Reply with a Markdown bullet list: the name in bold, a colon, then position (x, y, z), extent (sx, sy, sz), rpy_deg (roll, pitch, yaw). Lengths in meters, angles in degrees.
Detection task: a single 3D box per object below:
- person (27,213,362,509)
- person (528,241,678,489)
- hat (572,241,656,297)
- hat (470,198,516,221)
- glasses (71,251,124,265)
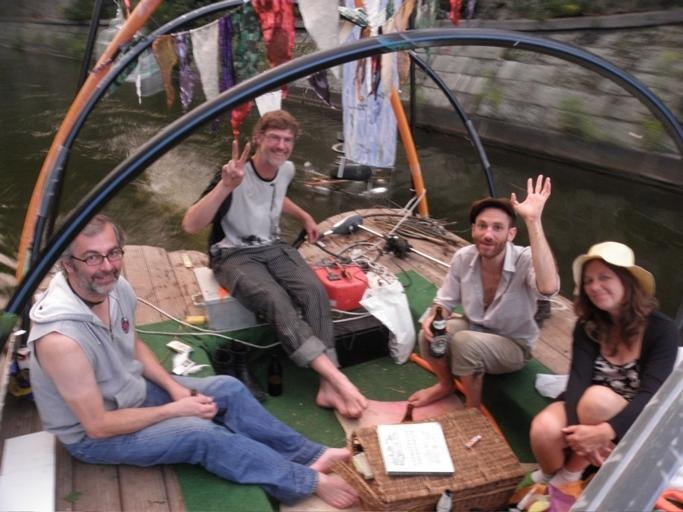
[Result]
- **person**: position (-0.929, 0.600, 2.903), extent (1.429, 1.701, 0.558), rpy_deg (-6, 15, -5)
- **person**: position (1.546, 0.667, 3.031), extent (0.652, 1.445, 0.666), rpy_deg (6, 18, 36)
- **hat**: position (1.651, 0.070, 3.142), extent (0.423, 0.354, 0.379), rpy_deg (3, 16, 28)
- **hat**: position (1.022, -0.307, 3.506), extent (0.295, 0.179, 0.173), rpy_deg (1, 15, 19)
- **glasses**: position (-1.280, 0.007, 2.725), extent (0.247, 0.066, 0.095), rpy_deg (-10, 15, -25)
